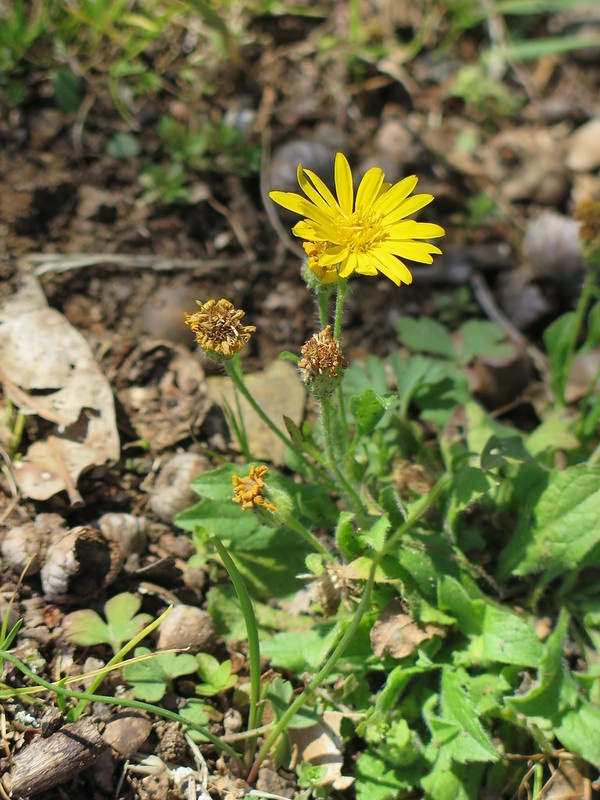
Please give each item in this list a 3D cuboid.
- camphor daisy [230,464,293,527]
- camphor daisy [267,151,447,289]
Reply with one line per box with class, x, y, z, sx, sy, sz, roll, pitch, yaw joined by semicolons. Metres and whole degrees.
camphor daisy;-0.109;0.292;2.539;0.131;0.204;0.150;-24;50;-13
camphor daisy;0.185;-0.529;2.624;0.575;0.510;0.185;15;64;39
